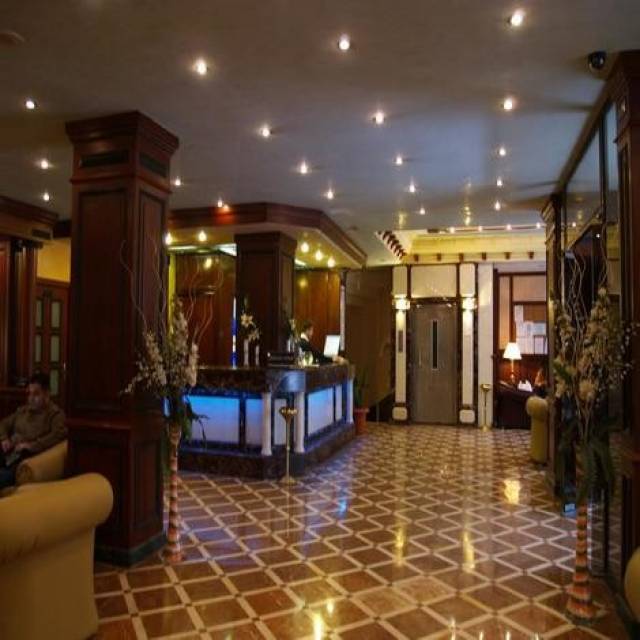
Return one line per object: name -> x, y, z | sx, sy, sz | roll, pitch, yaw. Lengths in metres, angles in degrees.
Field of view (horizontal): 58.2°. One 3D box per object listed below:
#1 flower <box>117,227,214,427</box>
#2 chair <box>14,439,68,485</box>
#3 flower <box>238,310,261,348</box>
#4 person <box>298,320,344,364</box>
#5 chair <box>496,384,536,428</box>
flower -> -1.230, 0.070, 4.574 | 0.584, 1.531, 0.613 | 0, -1, 32
chair -> -2.193, 1.131, 4.586 | 0.229, 0.307, 0.275 | 10, -5, -8
flower -> -0.984, 0.093, 8.178 | 0.296, 0.464, 0.646 | 1, -1, -12
person -> 0.005, 0.435, 8.863 | 0.478, 0.584, 0.713 | 1, 1, -17
chair -> 3.760, 1.700, 11.107 | 0.517, 0.892, 0.763 | -1, 3, 4
